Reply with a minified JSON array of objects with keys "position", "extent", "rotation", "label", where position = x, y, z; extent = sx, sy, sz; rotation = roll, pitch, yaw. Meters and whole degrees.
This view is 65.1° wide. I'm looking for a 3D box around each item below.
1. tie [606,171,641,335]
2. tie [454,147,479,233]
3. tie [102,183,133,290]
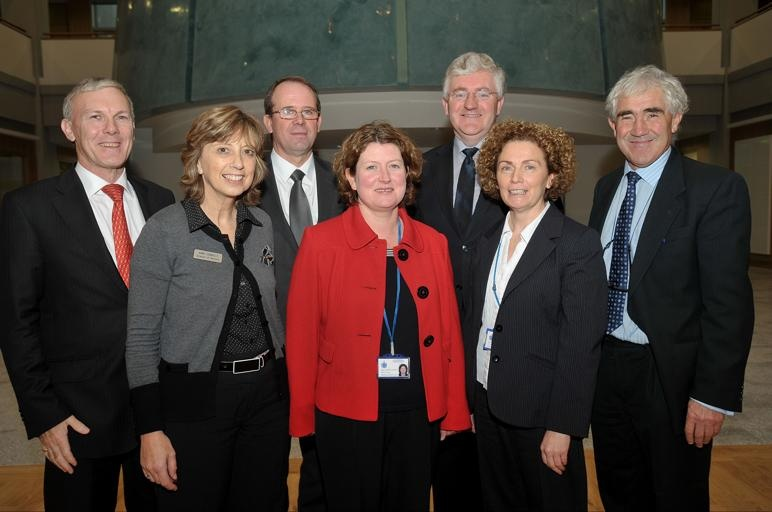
[{"position":[1.561,-0.065,3.985],"extent":[0.177,1.134,0.111],"rotation":[5,-14,7],"label":"tie"},{"position":[0.563,-0.495,4.320],"extent":[0.152,0.552,0.077],"rotation":[3,-11,13],"label":"tie"},{"position":[-1.701,-0.218,3.839],"extent":[0.172,0.583,0.049],"rotation":[-14,50,-37],"label":"tie"}]
